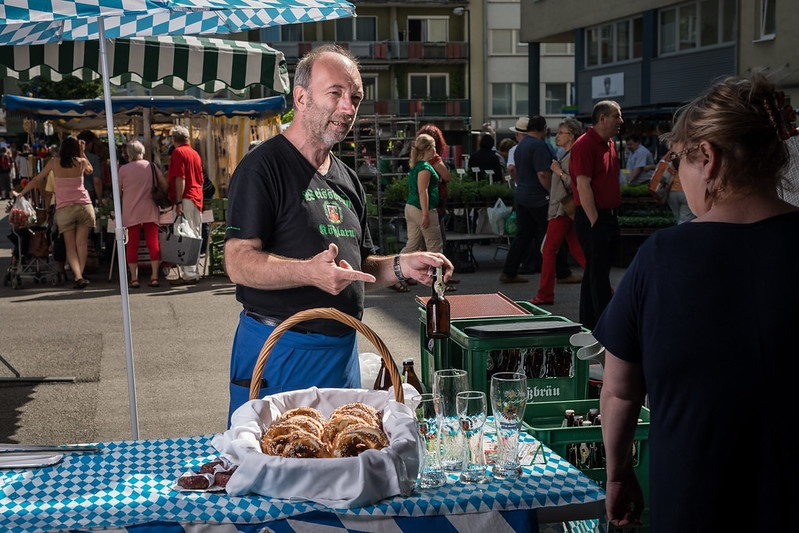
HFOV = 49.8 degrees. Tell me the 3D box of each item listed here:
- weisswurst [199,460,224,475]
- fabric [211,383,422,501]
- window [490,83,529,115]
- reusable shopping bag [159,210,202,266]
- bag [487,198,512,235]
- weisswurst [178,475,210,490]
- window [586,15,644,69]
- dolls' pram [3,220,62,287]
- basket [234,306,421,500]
[{"bbox_3d":[-0.772,0.822,3.537,0.071,0.033,0.059,-2,21,-1],"label":"weisswurst"},{"bbox_3d":[-0.323,0.740,3.547,0.811,0.376,0.514,-3,4,-3],"label":"fabric"},{"bbox_3d":[6.214,-9.477,48.679,2.285,1.921,0.185,0,11,5],"label":"window"},{"bbox_3d":[-3.509,-0.426,13.304,0.244,0.689,0.644,30,14,39],"label":"reusable shopping bag"},{"bbox_3d":[1.684,-0.853,14.578,0.385,0.576,0.315,-3,3,-25],"label":"bag"},{"bbox_3d":[-0.827,0.872,3.475,0.070,0.031,0.075,1,5,-1],"label":"weisswurst"},{"bbox_3d":[7.674,-7.943,30.601,0.136,1.514,3.005,-7,11,-32],"label":"window"},{"bbox_3d":[-5.715,-0.144,13.487,0.751,1.383,1.102,-1,13,-20],"label":"dolls' pram"},{"bbox_3d":[-0.314,0.571,3.552,0.696,0.693,0.716,-1,2,40],"label":"basket"}]
